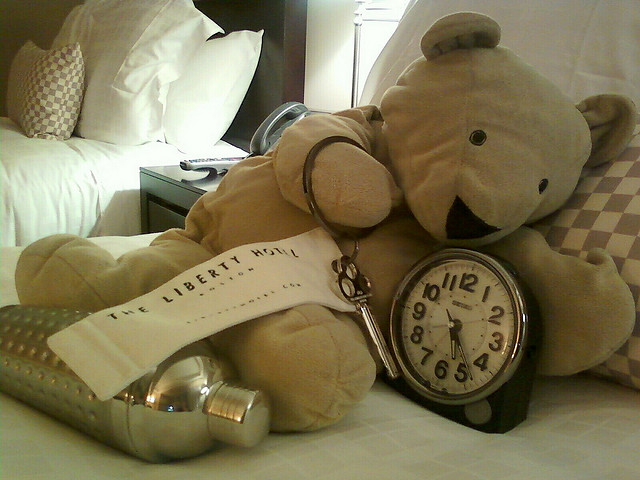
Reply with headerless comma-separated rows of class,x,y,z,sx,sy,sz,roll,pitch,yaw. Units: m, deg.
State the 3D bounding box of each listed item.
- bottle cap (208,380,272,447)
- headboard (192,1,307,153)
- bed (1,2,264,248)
bottle cap,-0.099,0.210,0.724,0.067,0.069,0.049,-2,24,12
headboard,-0.234,-0.721,2.351,0.344,0.663,0.494,-9,20,-25
bed,-0.615,-0.260,2.186,0.855,0.549,0.932,-10,46,-20
